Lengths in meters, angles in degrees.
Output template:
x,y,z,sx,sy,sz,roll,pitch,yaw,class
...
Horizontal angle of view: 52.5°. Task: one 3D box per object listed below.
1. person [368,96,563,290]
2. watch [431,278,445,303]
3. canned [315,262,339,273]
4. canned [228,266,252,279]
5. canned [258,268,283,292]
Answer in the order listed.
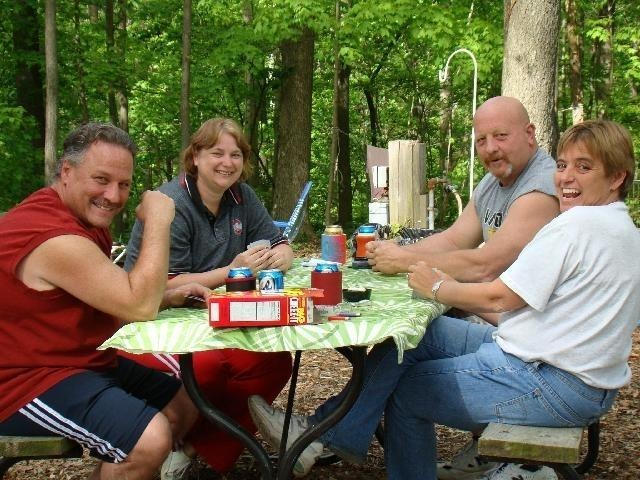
x,y,z,sx,sy,sz,roll,pitch,yaw,class
0.961,-0.281,3.872,1.383,1.062,0.963,-9,11,-29,person
0.539,0.228,3.011,0.093,0.087,0.091,4,-4,12,watch
0.030,0.116,2.859,0.065,0.057,0.064,2,1,0,canned
-0.342,0.140,2.820,0.062,0.059,0.062,-2,3,6,canned
-0.210,0.172,2.861,0.102,0.100,0.095,0,9,4,canned
